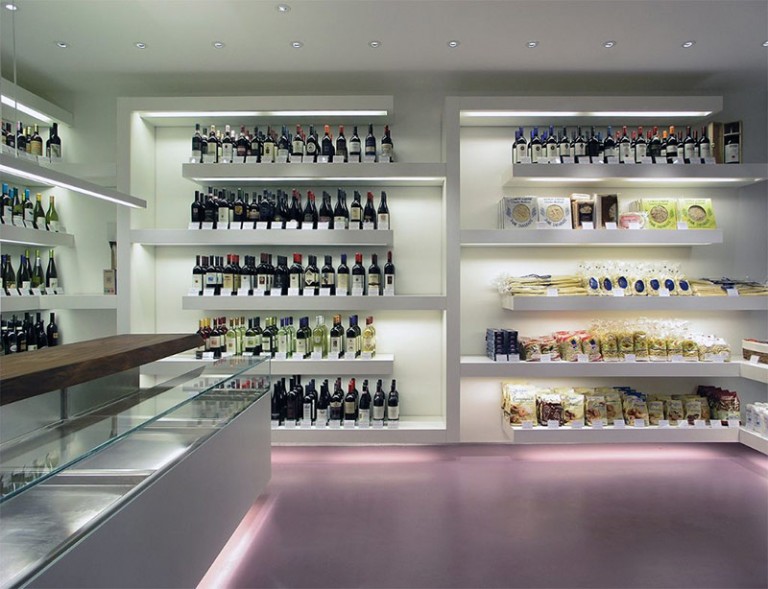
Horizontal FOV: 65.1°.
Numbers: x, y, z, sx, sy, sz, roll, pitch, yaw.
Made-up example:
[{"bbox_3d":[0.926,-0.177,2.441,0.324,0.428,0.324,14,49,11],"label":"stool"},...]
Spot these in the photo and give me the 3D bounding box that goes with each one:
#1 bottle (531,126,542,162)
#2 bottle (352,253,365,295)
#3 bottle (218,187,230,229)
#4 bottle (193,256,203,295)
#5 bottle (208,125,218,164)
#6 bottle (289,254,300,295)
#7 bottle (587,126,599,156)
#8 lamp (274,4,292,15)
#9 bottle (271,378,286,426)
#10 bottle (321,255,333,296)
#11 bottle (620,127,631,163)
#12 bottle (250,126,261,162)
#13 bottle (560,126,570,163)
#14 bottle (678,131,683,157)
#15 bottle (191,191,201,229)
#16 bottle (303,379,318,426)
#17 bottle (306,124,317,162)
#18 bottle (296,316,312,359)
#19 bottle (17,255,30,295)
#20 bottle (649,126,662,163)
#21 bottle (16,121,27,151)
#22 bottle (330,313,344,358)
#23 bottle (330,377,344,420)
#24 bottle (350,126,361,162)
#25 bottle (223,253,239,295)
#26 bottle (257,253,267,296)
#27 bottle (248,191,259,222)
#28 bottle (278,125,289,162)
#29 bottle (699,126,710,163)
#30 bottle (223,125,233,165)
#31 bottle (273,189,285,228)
[{"bbox_3d":[1.235,-1.194,4.860,0.096,0.268,0.266,2,12,12],"label":"bottle"},{"bbox_3d":[-0.208,-0.166,4.858,0.114,0.349,0.227,-1,12,-4],"label":"bottle"},{"bbox_3d":[-1.302,-0.686,4.890,0.099,0.281,0.214,-2,12,-9],"label":"bottle"},{"bbox_3d":[-1.506,-0.160,4.870,0.093,0.298,0.221,-3,12,-14],"label":"bottle"},{"bbox_3d":[-1.380,-1.202,4.857,0.092,0.276,0.117,-4,12,-15],"label":"bottle"},{"bbox_3d":[-0.716,-0.173,4.880,0.117,0.322,0.250,-2,12,-9],"label":"bottle"},{"bbox_3d":[1.700,-1.210,4.839,0.103,0.216,0.174,4,13,19],"label":"bottle"},{"bbox_3d":[-0.684,-1.938,4.102,0.096,0.045,0.080,-3,13,-11],"label":"lamp"},{"bbox_3d":[-0.847,0.867,4.859,0.119,0.318,0.214,-2,12,-8],"label":"bottle"},{"bbox_3d":[-0.458,-0.161,4.955,0.110,0.287,0.379,-1,12,-4],"label":"bottle"},{"bbox_3d":[1.940,-1.175,4.794,0.100,0.260,0.182,4,13,21],"label":"bottle"},{"bbox_3d":[-1.037,-1.203,4.867,0.077,0.261,0.134,-4,12,-16],"label":"bottle"},{"bbox_3d":[1.458,-1.178,4.802,0.099,0.262,0.196,1,12,6],"label":"bottle"},{"bbox_3d":[2.444,-1.230,4.940,0.038,0.210,0.414,5,14,24],"label":"bottle"},{"bbox_3d":[-1.530,-0.687,4.911,0.114,0.284,0.199,-4,13,-18],"label":"bottle"},{"bbox_3d":[-0.594,0.853,4.863,0.121,0.333,0.256,-2,12,-7],"label":"bottle"},{"bbox_3d":[-0.582,-1.212,4.885,0.099,0.271,0.160,-2,12,-7],"label":"bottle"},{"bbox_3d":[-0.654,0.329,4.914,0.129,0.324,0.301,-2,12,-7],"label":"bottle"},{"bbox_3d":[-2.968,-0.163,4.961,0.112,0.301,0.370,-7,14,-30],"label":"bottle"},{"bbox_3d":[2.183,-1.184,4.822,0.095,0.265,0.238,3,13,17],"label":"bottle"},{"bbox_3d":[-2.906,-1.260,4.827,0.071,0.239,0.451,-7,14,-28],"label":"bottle"},{"bbox_3d":[-0.376,0.330,4.806,0.106,0.338,0.162,-1,12,-4],"label":"bottle"},{"bbox_3d":[-0.377,0.843,4.830,0.107,0.321,0.191,0,12,4],"label":"bottle"},{"bbox_3d":[-0.233,-1.224,4.937,0.107,0.272,0.225,-1,12,-3],"label":"bottle"},{"bbox_3d":[-1.242,-0.170,4.887,0.149,0.311,0.264,-3,12,-12],"label":"bottle"},{"bbox_3d":[-0.981,-0.171,4.851,0.091,0.324,0.182,-3,12,-12],"label":"bottle"},{"bbox_3d":[-1.055,-0.693,4.885,0.098,0.232,0.137,-5,13,-20],"label":"bottle"},{"bbox_3d":[-0.814,-1.210,4.889,0.103,0.265,0.176,-2,12,-9],"label":"bottle"},{"bbox_3d":[2.570,-1.186,4.804,0.092,0.276,0.219,5,13,25],"label":"bottle"},{"bbox_3d":[-1.270,-1.216,4.893,0.095,0.298,0.266,-3,12,-13],"label":"bottle"},{"bbox_3d":[-0.841,-0.683,4.883,0.117,0.282,0.238,-2,12,-9],"label":"bottle"}]
